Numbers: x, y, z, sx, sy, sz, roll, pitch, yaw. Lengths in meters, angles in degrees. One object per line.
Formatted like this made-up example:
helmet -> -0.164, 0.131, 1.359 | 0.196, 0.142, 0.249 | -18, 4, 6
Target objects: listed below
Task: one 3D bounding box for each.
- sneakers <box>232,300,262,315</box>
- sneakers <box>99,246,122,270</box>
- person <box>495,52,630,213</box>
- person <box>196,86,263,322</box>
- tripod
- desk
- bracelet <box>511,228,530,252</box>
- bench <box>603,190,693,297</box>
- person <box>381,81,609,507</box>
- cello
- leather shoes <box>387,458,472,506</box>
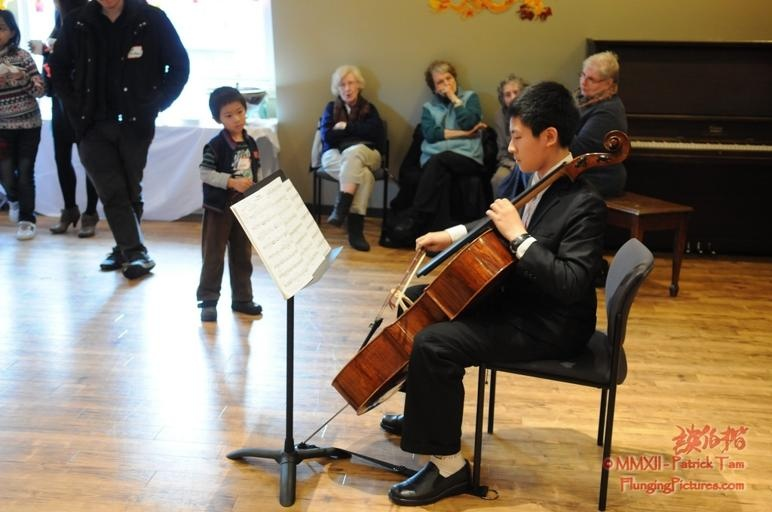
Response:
sneakers -> -0.942, 0.345, 4.422 | 0.227, 0.092, 0.081 | 2, 9, 9
sneakers -> -2.122, 0.026, 5.022 | 0.104, 0.120, 0.277 | 6, 10, -4
person -> 1.482, -1.146, 5.481 | 1.236, 1.416, 1.033 | 2, 17, 12
person -> -1.030, -0.335, 4.218 | 0.454, 1.490, 0.501 | 6, 19, 19
tripod -> -0.478, 0.609, 3.069 | 0.482, 0.920, 0.445 | 16, 24, 40
desk -> -2.194, -0.811, 6.334 | 1.468, 0.495, 1.452 | -17, 36, -21
bracelet -> 0.580, -0.071, 2.872 | 0.096, 0.061, 0.087 | -42, -1, -4
bench -> 1.843, -0.112, 4.468 | 0.504, 0.662, 0.736 | -2, 14, -8
person -> 0.483, 0.156, 2.981 | 0.991, 1.846, 0.513 | -5, 19, -14
cello -> 0.354, 0.126, 3.137 | 1.587, 0.357, 0.616 | -44, -5, -2
leather shoes -> 0.209, 1.044, 3.030 | 0.373, 0.149, 0.164 | -7, 7, -14
